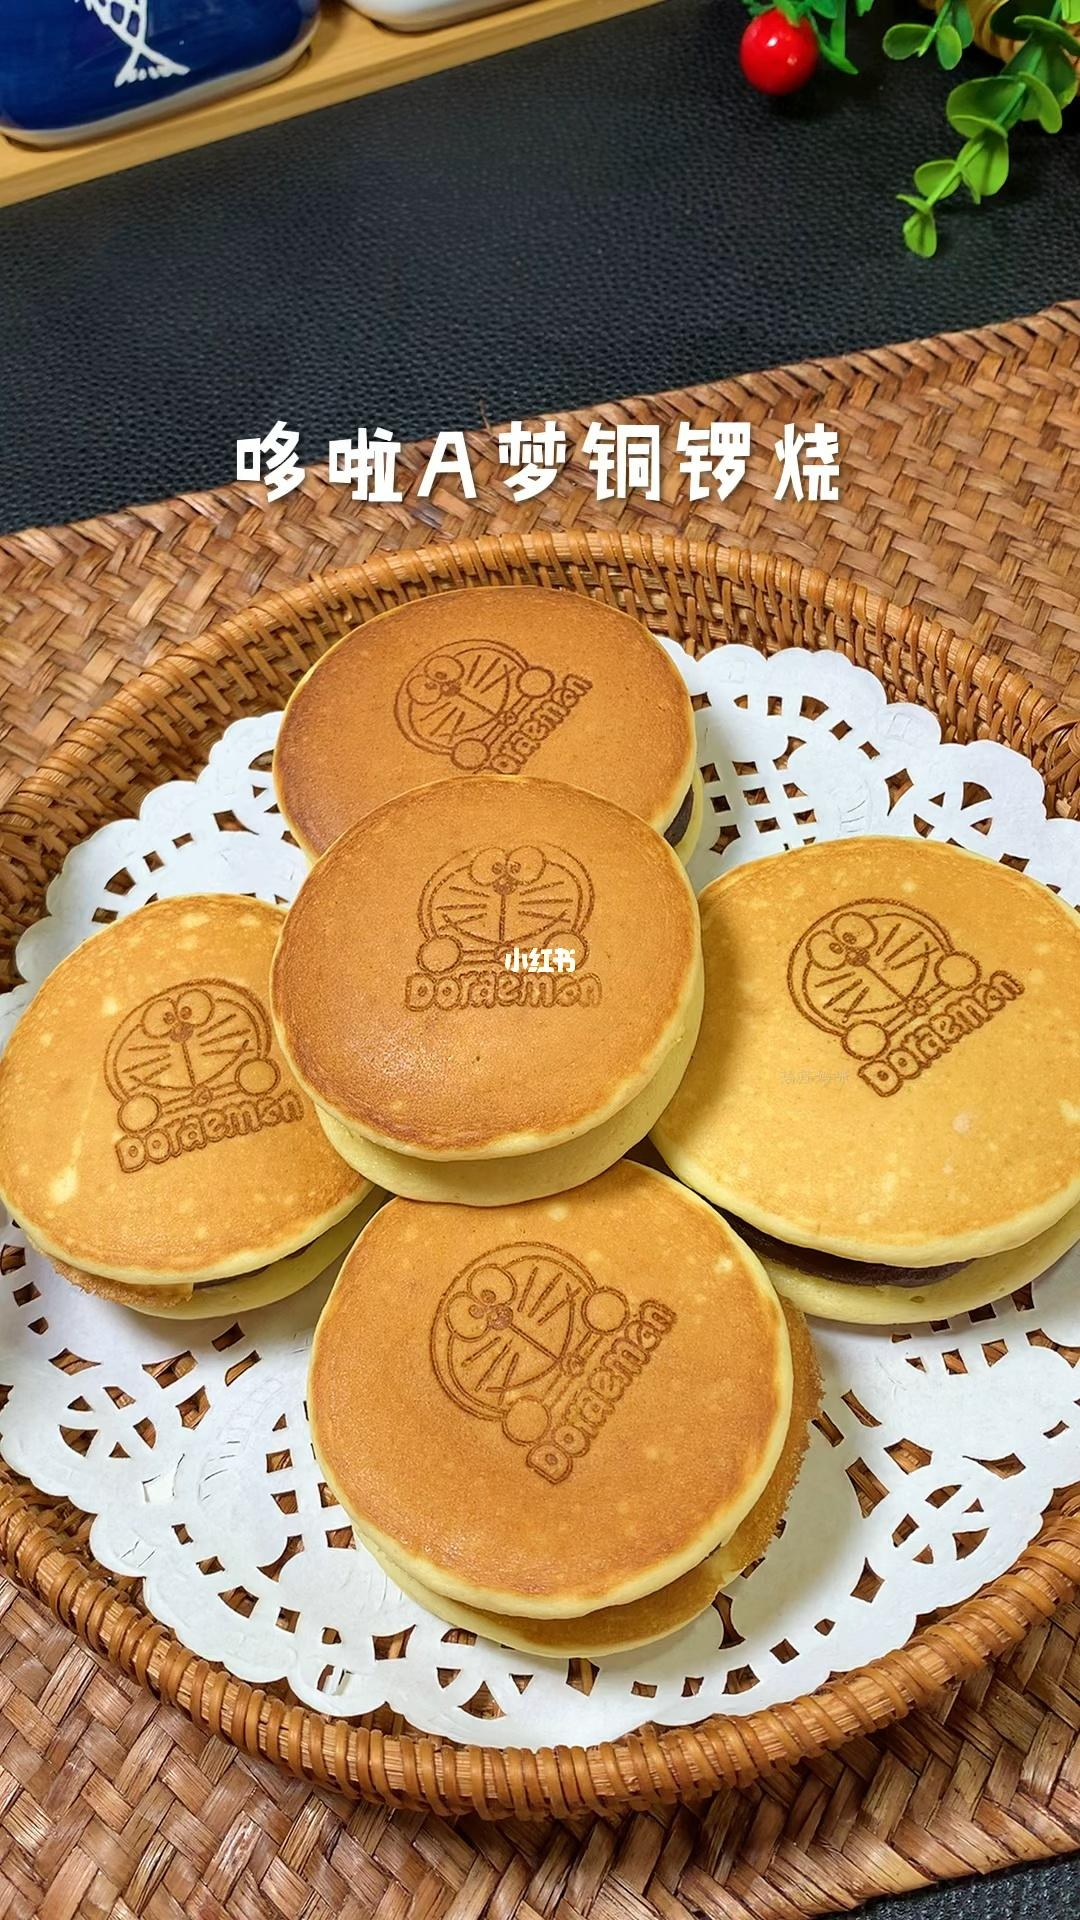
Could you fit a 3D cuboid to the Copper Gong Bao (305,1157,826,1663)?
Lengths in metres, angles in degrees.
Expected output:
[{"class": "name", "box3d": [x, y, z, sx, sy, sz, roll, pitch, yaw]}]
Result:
[{"class": "Copper Gong Bao", "box3d": [0.003, 0.275, 1.080, 0.310, 0.154, 0.271, -9, 28, -10]}]

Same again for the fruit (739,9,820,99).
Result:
[{"class": "fruit", "box3d": [0.316, -1.199, 2.135, 0.104, 0.099, 0.141, 0, 27, 7]}]
